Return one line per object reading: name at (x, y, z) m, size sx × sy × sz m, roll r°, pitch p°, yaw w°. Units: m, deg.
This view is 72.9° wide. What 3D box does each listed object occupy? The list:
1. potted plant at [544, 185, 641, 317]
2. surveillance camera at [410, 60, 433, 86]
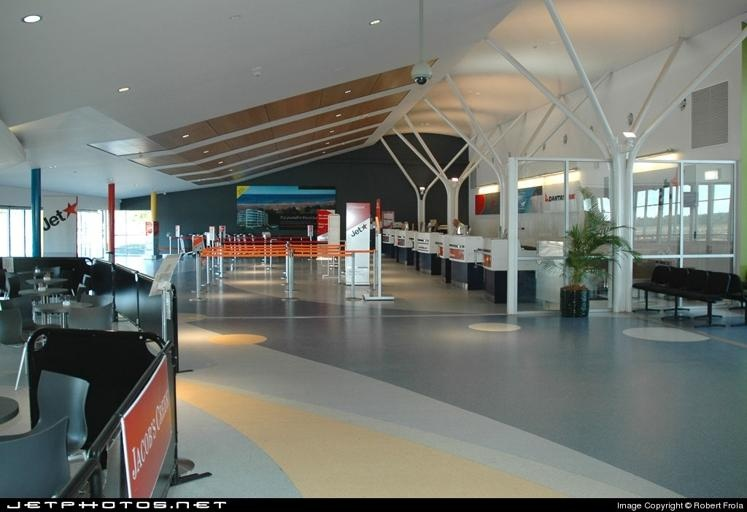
potted plant at (4.878, 0.020, 12.146) m, size 2.746 × 3.001 × 2.688 m, roll 2°, pitch -2°, yaw 0°
surveillance camera at (0.807, -3.134, 8.650) m, size 0.282 × 0.451 × 0.596 m, roll 0°, pitch 6°, yaw 8°
